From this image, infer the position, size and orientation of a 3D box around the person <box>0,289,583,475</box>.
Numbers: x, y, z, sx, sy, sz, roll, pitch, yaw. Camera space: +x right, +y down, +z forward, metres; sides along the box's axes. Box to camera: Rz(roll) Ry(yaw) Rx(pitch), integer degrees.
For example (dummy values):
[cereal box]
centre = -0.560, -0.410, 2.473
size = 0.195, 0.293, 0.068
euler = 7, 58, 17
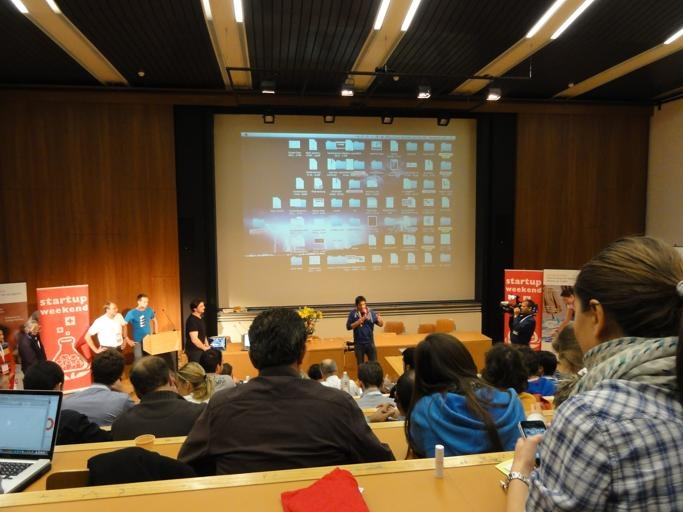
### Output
[person]
centre = -0.583, 0.885, 3.934
size = 2.855, 1.306, 0.705
euler = 0, -5, 0

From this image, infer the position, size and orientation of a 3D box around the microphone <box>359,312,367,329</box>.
[microphone]
centre = 0.290, 0.836, 6.874
size = 0.066, 0.071, 0.191
euler = 21, 22, 4

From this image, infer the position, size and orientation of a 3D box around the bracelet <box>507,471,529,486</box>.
[bracelet]
centre = 0.697, 0.872, 2.019
size = 0.064, 0.042, 0.068
euler = -9, -36, 25
